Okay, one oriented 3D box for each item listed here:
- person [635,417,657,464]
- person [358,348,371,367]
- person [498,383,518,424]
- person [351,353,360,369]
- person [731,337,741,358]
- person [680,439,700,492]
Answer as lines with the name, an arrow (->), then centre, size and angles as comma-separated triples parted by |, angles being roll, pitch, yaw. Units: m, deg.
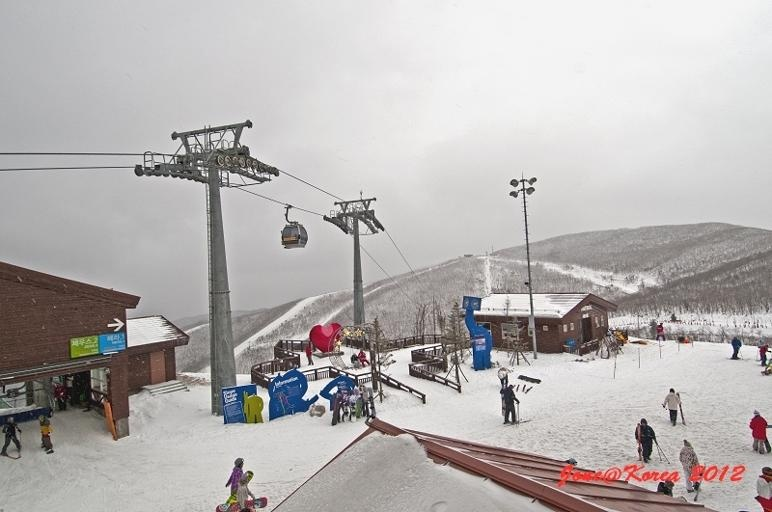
person -> 14.085, 9.893, 34.622 | 0.965, 2.306, 0.720 | -4, 5, 22
person -> -1.840, 7.914, 49.500 | 0.760, 1.257, 0.476 | -12, -7, -29
person -> 7.528, 8.989, 38.847 | 1.036, 2.294, 1.248 | -6, -8, 10
person -> -2.373, 8.102, 49.398 | 0.741, 1.438, 1.065 | -2, -4, 8
person -> 26.332, 6.952, 48.202 | 0.703, 1.582, 3.080 | -8, -9, 28
person -> 15.507, 10.752, 32.621 | 0.763, 2.521, 0.457 | -7, -8, 23
